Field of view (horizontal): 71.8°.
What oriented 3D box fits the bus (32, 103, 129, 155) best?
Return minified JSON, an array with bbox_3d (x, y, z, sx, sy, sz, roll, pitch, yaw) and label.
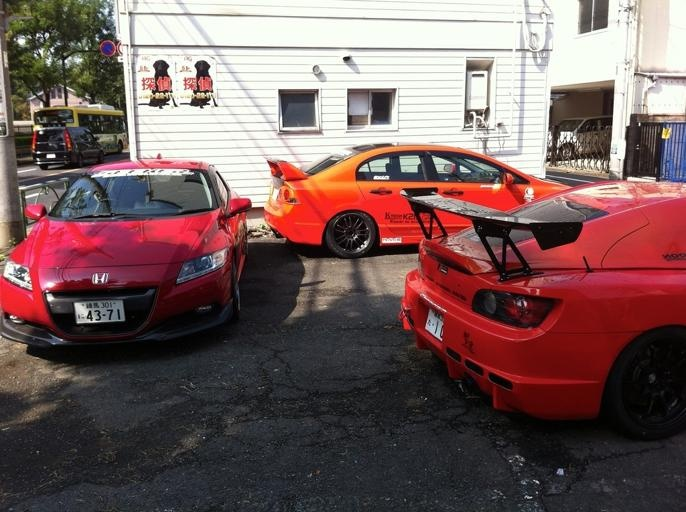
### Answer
[{"bbox_3d":[-22.205,-10.742,40.246,3.670,3.630,9.698,2,15,-2],"label":"bus"}]
